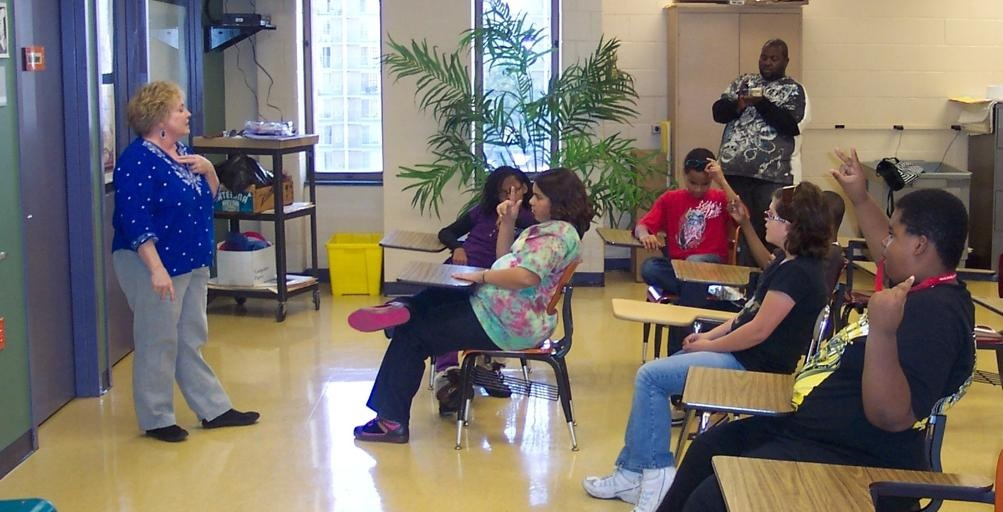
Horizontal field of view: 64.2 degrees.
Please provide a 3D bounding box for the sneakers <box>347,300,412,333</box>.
[{"bbox_3d":[-0.834,0.435,5.646,0.264,0.119,0.319,0,4,25],"label":"sneakers"}]

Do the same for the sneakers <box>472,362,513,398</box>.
[{"bbox_3d":[-0.074,0.988,6.353,0.180,0.190,0.491,2,2,12],"label":"sneakers"}]

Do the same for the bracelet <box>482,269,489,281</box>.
[{"bbox_3d":[-0.123,0.142,5.520,0.041,0.092,0.062,0,13,-2],"label":"bracelet"}]

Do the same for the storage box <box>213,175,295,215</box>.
[{"bbox_3d":[-2.483,-0.583,7.910,0.474,0.177,0.463,2,11,13],"label":"storage box"}]

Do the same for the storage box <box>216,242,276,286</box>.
[{"bbox_3d":[-2.543,0.076,7.930,0.488,0.251,0.449,1,5,3],"label":"storage box"}]

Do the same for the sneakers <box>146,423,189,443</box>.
[{"bbox_3d":[-2.447,1.279,5.817,0.287,0.095,0.125,1,5,4],"label":"sneakers"}]

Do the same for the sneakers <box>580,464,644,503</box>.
[{"bbox_3d":[0.742,1.511,5.270,0.474,0.187,0.159,4,16,15],"label":"sneakers"}]

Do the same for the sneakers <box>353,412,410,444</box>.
[{"bbox_3d":[-0.873,1.265,5.907,0.411,0.157,0.175,4,5,7],"label":"sneakers"}]

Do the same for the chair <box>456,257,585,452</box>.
[{"bbox_3d":[0.054,0.529,6.084,1.148,1.354,0.918,-10,31,-1],"label":"chair"}]

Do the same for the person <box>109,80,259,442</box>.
[{"bbox_3d":[-2.366,0.051,5.756,0.769,2.540,0.510,-6,15,-25],"label":"person"}]

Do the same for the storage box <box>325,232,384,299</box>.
[{"bbox_3d":[-1.572,0.103,8.515,0.743,0.547,0.824,0,4,-1],"label":"storage box"}]
